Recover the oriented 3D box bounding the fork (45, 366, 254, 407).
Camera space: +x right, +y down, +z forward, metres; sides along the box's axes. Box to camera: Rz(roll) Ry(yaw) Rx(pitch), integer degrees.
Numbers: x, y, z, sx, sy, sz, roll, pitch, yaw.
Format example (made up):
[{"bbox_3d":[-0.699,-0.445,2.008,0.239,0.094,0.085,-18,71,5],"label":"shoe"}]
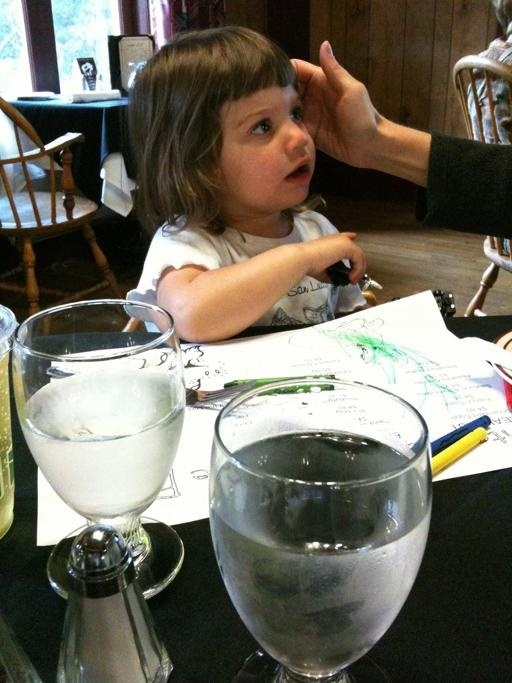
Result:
[{"bbox_3d":[-0.066,0.029,0.353,0.110,0.018,0.015,15,47,-17],"label":"fork"}]
